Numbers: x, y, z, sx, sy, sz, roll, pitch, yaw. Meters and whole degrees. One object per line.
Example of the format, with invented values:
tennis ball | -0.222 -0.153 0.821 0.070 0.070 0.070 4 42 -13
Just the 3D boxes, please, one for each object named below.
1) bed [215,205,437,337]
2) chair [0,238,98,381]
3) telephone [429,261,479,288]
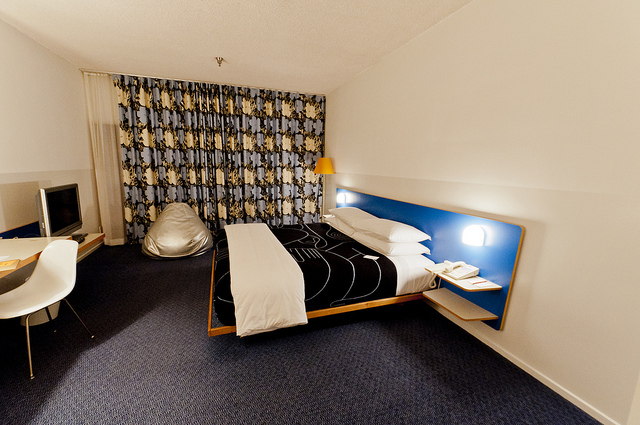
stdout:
bed | -0.064 0.629 4.537 1.821 0.518 1.720 -1 9 -19
chair | -2.988 0.921 4.169 0.897 1.302 0.649 7 12 28
telephone | 1.448 0.619 4.311 0.465 0.133 0.227 -2 10 -18
